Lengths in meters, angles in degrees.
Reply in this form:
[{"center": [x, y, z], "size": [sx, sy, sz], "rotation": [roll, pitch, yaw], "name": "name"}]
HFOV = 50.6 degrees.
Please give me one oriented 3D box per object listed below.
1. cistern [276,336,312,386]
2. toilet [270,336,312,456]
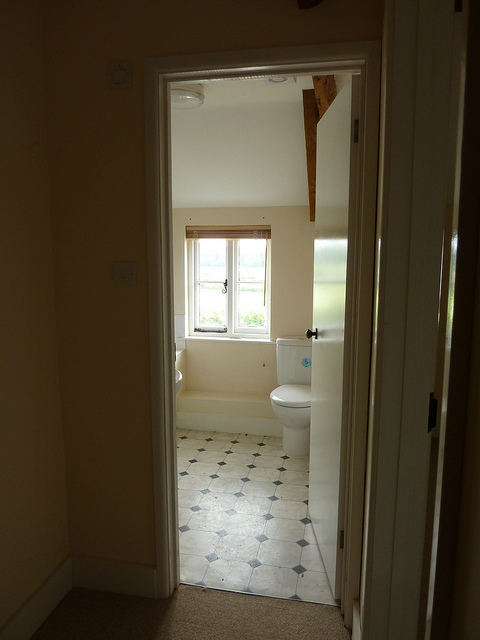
[{"center": [0.386, 0.280, 3.613], "size": [0.201, 0.375, 0.320], "rotation": [0, 7, 5], "name": "cistern"}, {"center": [0.409, 0.527, 3.488], "size": [0.250, 0.722, 0.553], "rotation": [2, 10, 17], "name": "toilet"}]
